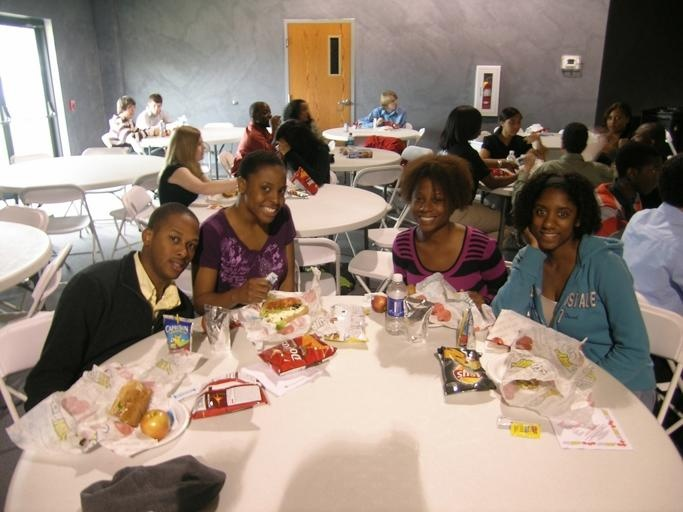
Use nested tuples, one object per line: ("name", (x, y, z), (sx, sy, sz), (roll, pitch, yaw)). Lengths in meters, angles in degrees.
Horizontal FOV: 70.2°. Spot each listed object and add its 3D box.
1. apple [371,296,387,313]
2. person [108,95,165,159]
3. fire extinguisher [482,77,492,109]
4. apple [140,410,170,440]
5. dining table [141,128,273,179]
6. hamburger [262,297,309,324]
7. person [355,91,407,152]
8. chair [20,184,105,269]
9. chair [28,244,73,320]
("apple", (0.145, 0.188, 1.897), (0.062, 0.057, 0.061), (-9, 1, -32))
("person", (-3.072, -2.151, 7.567), (0.439, 0.710, 0.699), (8, 29, 32))
("fire extinguisher", (2.543, -2.862, 8.534), (0.164, 0.544, 0.052), (5, 23, 12))
("apple", (-0.511, 0.455, 1.347), (0.076, 0.068, 0.070), (-5, 15, -25))
("dining table", (-1.960, -1.659, 7.312), (1.414, 0.793, 1.325), (1, 32, -1))
("hamburger", (-0.215, 0.198, 1.765), (0.123, 0.040, 0.087), (-3, 28, -2))
("person", (0.634, -2.042, 7.968), (0.660, 1.148, 0.680), (16, 28, 23))
("chair", (-2.364, -0.317, 4.085), (0.452, 0.681, 0.506), (-12, 34, -28))
("chair", (-1.480, 0.146, 2.453), (0.203, 0.267, 0.150), (-18, 54, -20))
